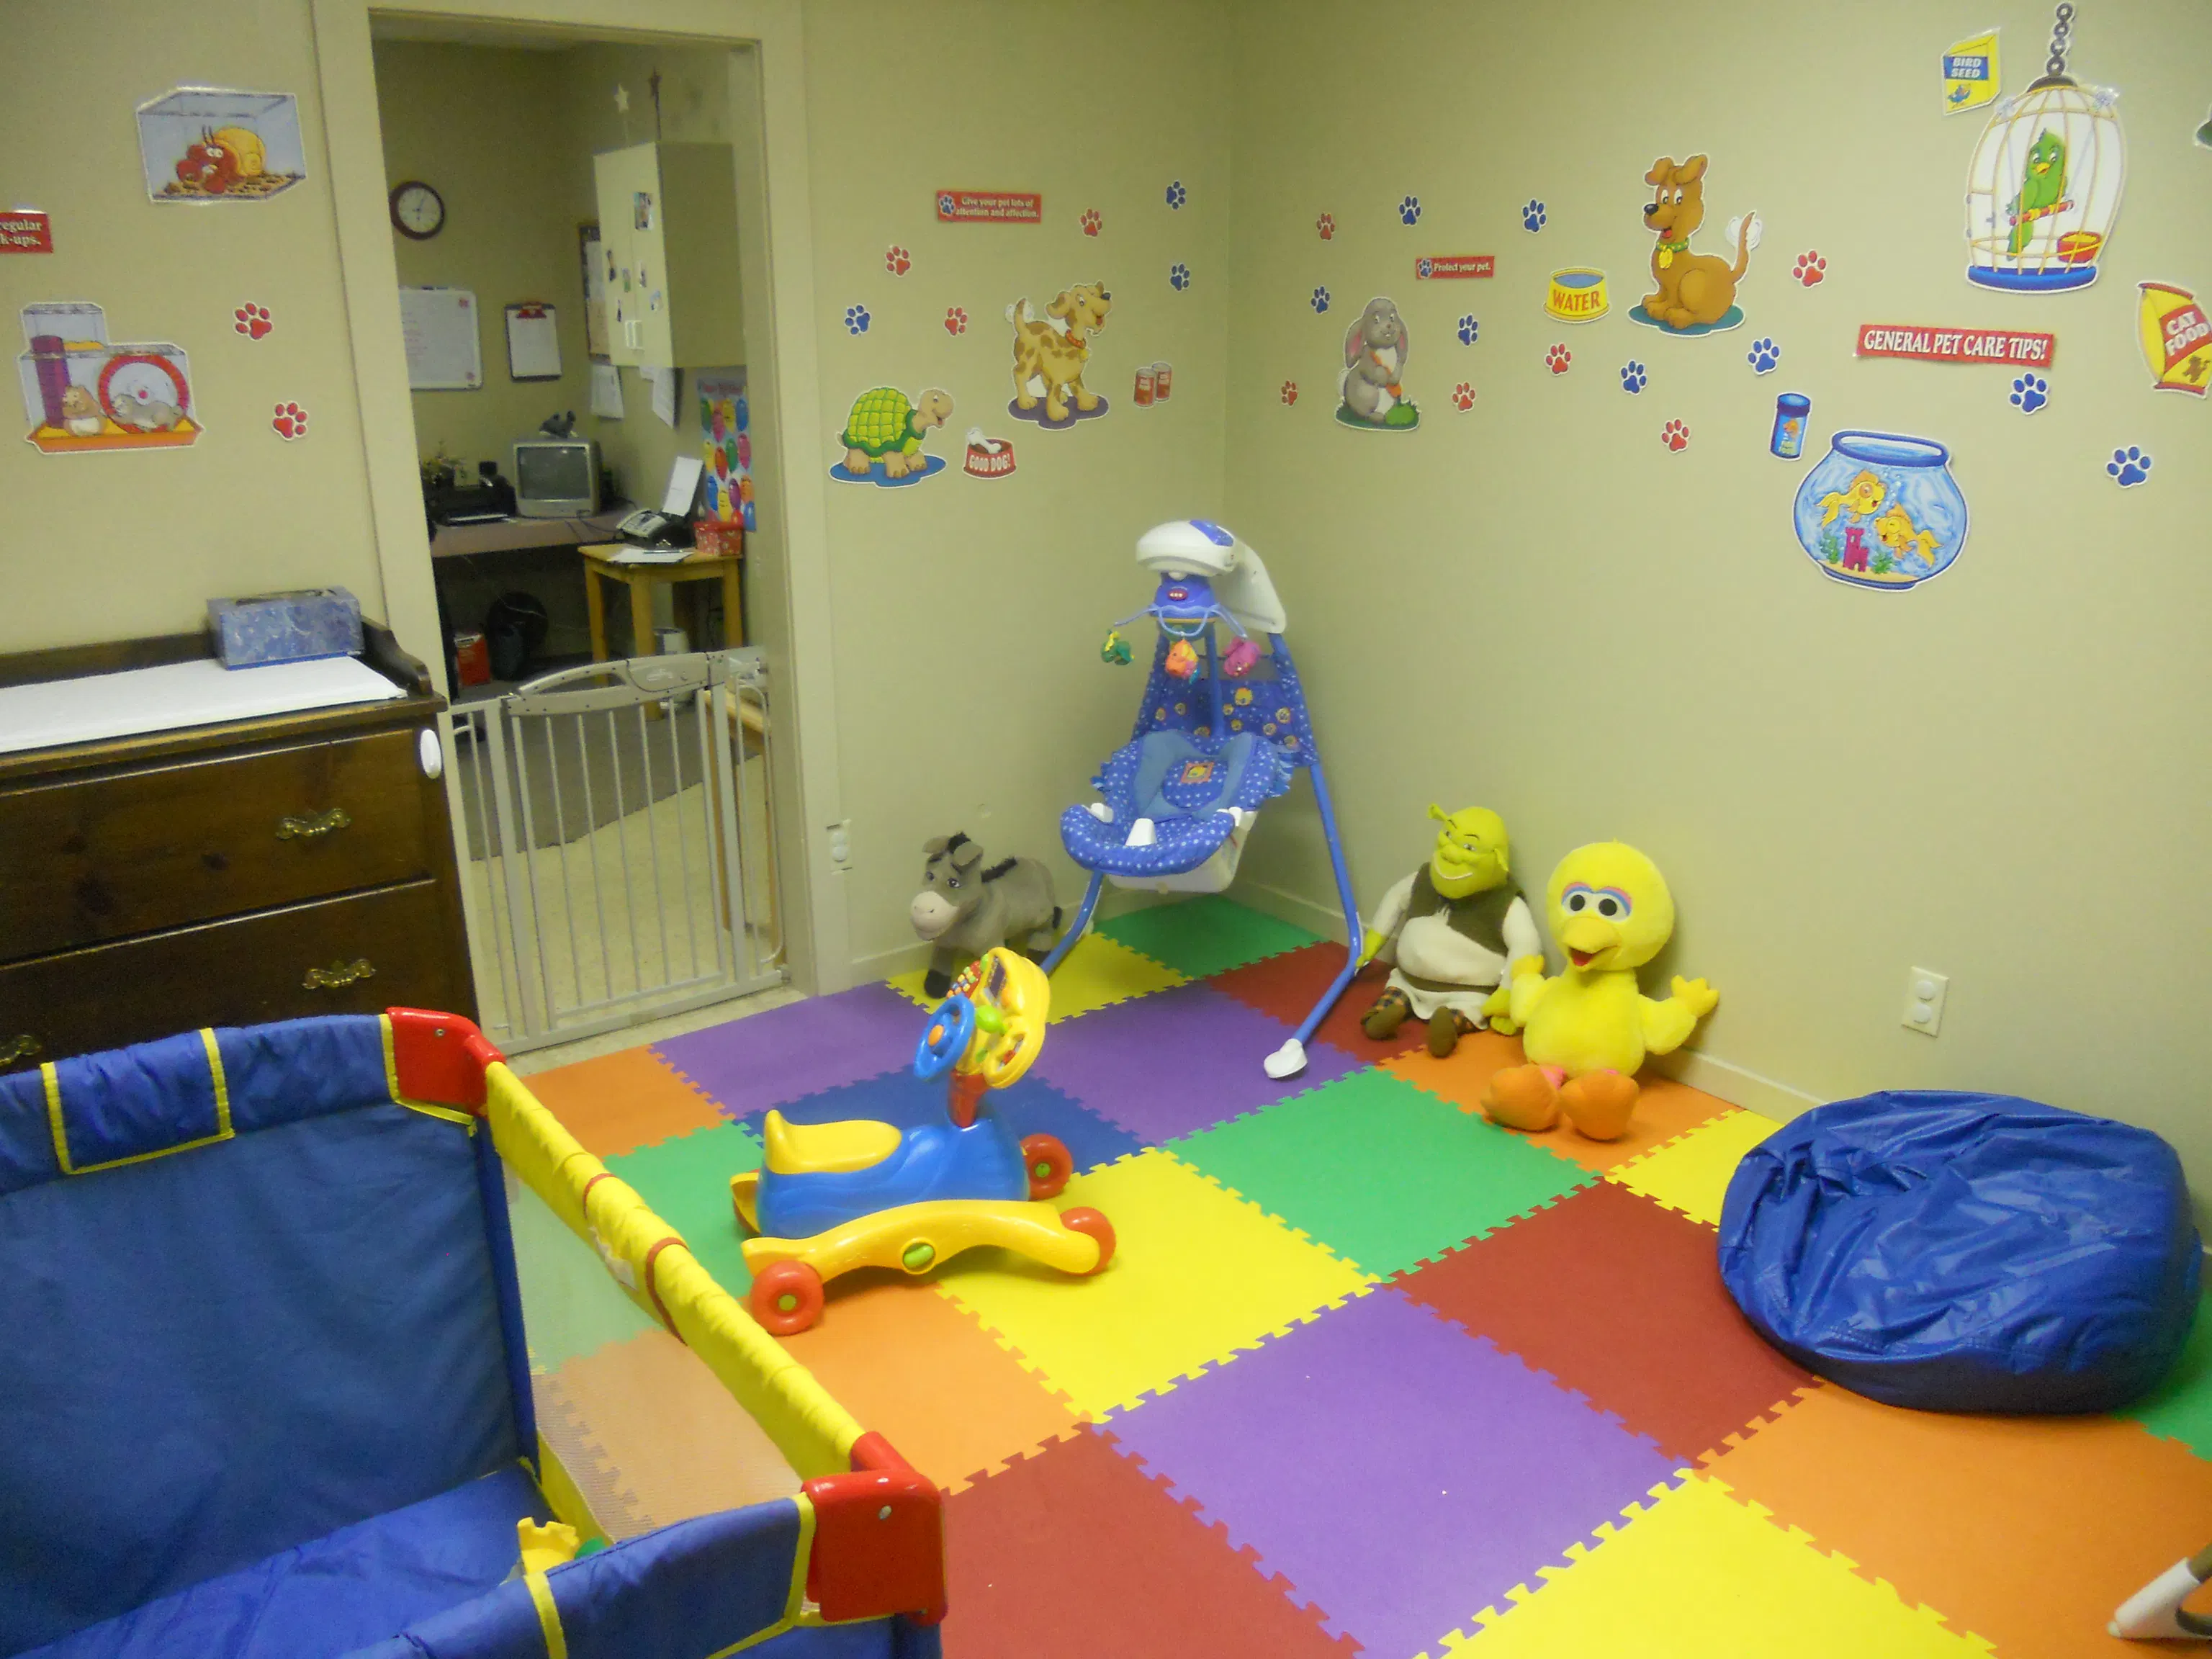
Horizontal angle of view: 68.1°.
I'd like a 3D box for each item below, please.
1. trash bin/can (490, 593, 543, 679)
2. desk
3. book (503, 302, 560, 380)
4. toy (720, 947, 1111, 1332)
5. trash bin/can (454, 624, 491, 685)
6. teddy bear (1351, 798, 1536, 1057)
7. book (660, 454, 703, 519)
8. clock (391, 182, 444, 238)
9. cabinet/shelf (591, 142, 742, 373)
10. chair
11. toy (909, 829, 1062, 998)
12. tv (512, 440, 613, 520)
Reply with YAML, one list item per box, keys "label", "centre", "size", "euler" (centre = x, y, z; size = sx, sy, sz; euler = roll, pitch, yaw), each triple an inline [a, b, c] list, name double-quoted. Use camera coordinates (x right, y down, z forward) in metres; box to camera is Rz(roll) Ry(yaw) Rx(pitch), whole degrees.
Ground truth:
- label: "trash bin/can"
  centre: [-2.713, -0.900, 7.576]
  size: [0.249, 0.386, 0.345]
  euler: [1, 2, -29]
- label: "desk"
  centre: [-2.321, -0.967, 7.215]
  size: [1.494, 0.762, 0.852]
  euler: [14, 23, 32]
- label: "book"
  centre: [-2.715, -2.311, 7.722]
  size: [0.282, 0.426, 0.054]
  euler: [-14, 24, -42]
- label: "toy"
  centre: [-0.415, 0.605, 3.586]
  size: [0.820, 0.754, 0.725]
  euler: [0, 11, -5]
- label: "trash bin/can"
  centre: [-2.829, -0.745, 7.336]
  size: [0.139, 0.236, 0.495]
  euler: [-5, 20, -18]
- label: "teddy bear"
  centre: [0.921, 0.260, 4.419]
  size: [0.445, 0.629, 0.404]
  euler: [18, 24, 32]
- label: "book"
  centre: [-1.836, -1.485, 7.035]
  size: [0.140, 0.252, 0.382]
  euler: [-9, 21, -27]
- label: "clock"
  centre: [-3.090, -2.775, 7.369]
  size: [0.070, 0.265, 0.259]
  euler: [15, 23, 36]
- label: "cabinet/shelf"
  centre: [-1.730, -2.281, 6.665]
  size: [0.401, 0.830, 0.797]
  euler: [-10, 19, -30]
- label: "chair"
  centre: [0.198, -0.151, 4.232]
  size: [0.853, 1.260, 0.980]
  euler: [-15, 19, -35]
- label: "toy"
  centre: [-0.310, 0.201, 4.618]
  size: [0.208, 0.482, 0.602]
  euler: [19, 30, 32]
- label: "tv"
  centre: [-2.474, -1.568, 7.607]
  size: [0.490, 0.497, 0.289]
  euler: [1, 6, 3]
